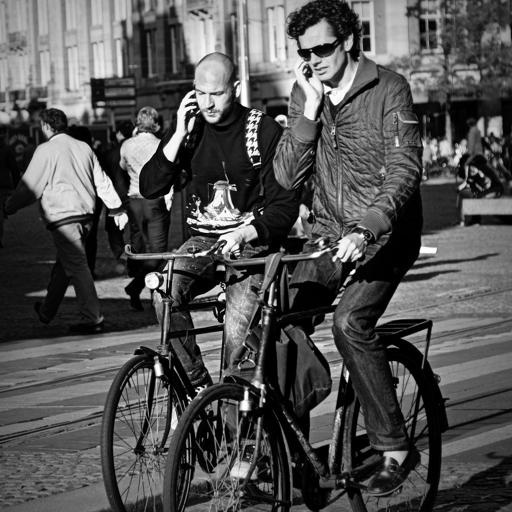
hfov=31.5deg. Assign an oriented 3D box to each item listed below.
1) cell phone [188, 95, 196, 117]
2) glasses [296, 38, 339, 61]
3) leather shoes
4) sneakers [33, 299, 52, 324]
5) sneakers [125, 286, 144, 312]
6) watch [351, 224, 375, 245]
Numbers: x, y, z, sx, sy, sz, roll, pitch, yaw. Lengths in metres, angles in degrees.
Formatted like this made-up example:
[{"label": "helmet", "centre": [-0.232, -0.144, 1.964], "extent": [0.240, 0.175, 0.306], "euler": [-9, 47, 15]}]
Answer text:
[{"label": "cell phone", "centre": [-0.263, -0.641, 3.857], "extent": [0.014, 0.067, 0.043], "euler": [-1, 18, 6]}, {"label": "glasses", "centre": [0.218, -0.809, 3.542], "extent": [0.095, 0.067, 0.245], "euler": [-9, 9, -37]}, {"label": "leather shoes", "centre": [0.545, 0.842, 3.543], "extent": [0.097, 0.115, 0.297], "euler": [6, 41, 37]}, {"label": "sneakers", "centre": [-2.103, 0.557, 9.003], "extent": [0.063, 0.237, 0.084], "euler": [-17, -3, -30]}, {"label": "sneakers", "centre": [-1.352, 0.474, 10.131], "extent": [0.136, 0.221, 0.069], "euler": [-24, 6, 31]}, {"label": "watch", "centre": [0.372, -0.082, 3.203], "extent": [0.036, 0.059, 0.077], "euler": [-36, -30, 2]}]
